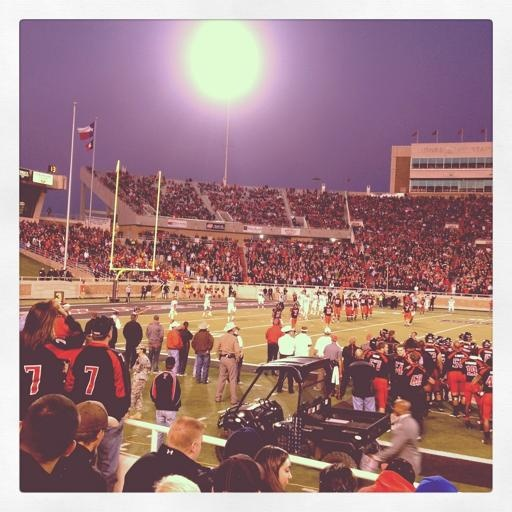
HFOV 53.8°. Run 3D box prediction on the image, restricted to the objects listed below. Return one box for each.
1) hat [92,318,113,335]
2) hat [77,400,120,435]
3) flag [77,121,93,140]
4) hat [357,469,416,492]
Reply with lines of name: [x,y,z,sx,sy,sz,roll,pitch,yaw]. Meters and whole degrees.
hat: [-1.530,0.702,5.030,0.200,0.188,0.255,4,-4,-21]
hat: [-1.122,1.115,3.486,0.199,0.186,0.165,4,-4,-28]
flag: [-9.335,-6.846,27.701,0.786,1.194,1.316,3,-3,-15]
hat: [0.936,1.570,3.467,0.254,0.104,0.199,0,-9,1]
